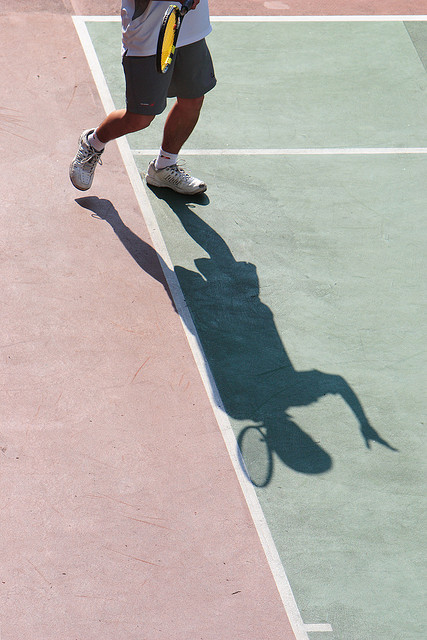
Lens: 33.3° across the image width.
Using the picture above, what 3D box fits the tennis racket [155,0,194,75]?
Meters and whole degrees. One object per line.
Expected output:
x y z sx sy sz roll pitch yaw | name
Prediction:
-0.199 -1.404 3.504 0.046 0.509 0.179 31 40 11 | tennis racket
